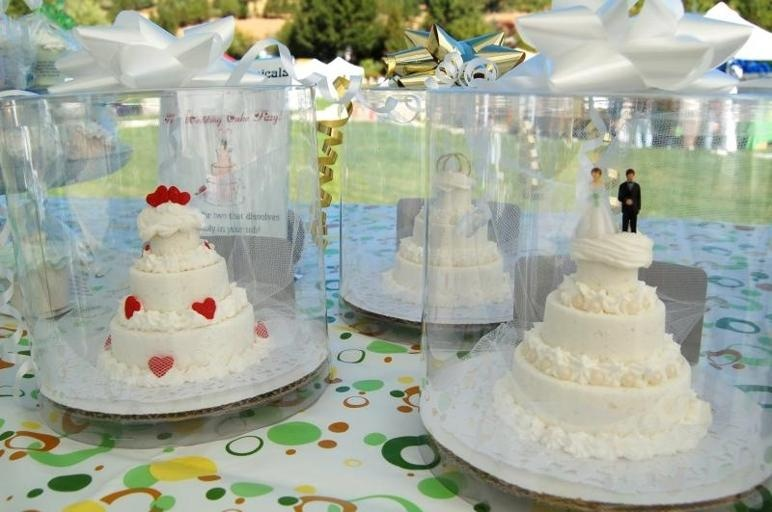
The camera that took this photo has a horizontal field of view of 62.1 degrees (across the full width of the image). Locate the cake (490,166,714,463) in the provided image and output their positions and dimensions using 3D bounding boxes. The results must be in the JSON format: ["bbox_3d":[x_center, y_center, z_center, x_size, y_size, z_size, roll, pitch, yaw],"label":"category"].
[{"bbox_3d":[0.911,0.223,3.621,1.184,1.336,1.181,0,19,6],"label":"cake"}]

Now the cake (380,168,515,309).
[{"bbox_3d":[0.323,-0.131,4.213,0.771,0.781,0.786,10,20,33],"label":"cake"}]
